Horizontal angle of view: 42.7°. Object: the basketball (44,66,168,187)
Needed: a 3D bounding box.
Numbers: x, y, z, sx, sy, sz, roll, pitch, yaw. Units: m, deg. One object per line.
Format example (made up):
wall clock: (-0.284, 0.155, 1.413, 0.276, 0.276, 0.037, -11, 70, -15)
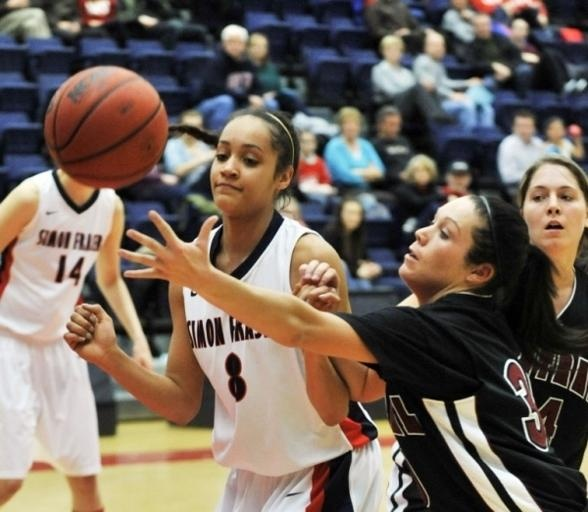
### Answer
basketball: (-0.530, -0.367, 2.161, 0.269, 0.395, 0.310, -7, 21, -25)
